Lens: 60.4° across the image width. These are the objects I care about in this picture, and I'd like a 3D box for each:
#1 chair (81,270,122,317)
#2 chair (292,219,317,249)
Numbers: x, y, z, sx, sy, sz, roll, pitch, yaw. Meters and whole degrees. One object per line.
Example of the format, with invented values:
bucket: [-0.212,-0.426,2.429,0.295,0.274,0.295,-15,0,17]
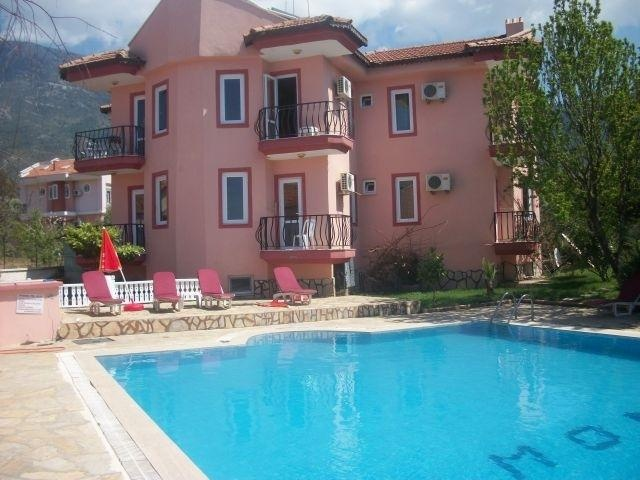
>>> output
chair: [-5.808,1.412,14.580,1.356,1.270,0.815,10,7,42]
chair: [-0.477,-0.236,18.443,0.592,0.972,0.981,-2,5,-17]
